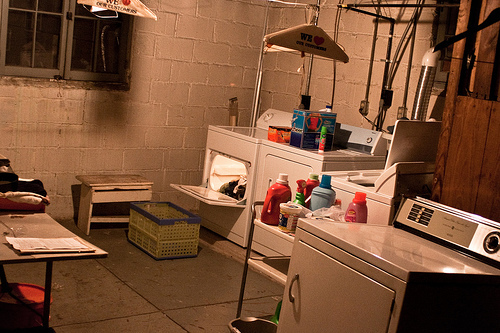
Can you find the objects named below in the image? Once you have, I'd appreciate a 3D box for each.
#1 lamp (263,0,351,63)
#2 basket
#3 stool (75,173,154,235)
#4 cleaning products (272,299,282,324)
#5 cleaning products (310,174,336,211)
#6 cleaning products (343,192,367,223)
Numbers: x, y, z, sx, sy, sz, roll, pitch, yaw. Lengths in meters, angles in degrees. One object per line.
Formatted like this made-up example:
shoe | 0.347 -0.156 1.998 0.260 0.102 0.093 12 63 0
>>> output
lamp | 0.595 -1.256 3.962 0.917 0.292 0.252 11 17 -9
basket | -1.033 0.731 4.594 0.542 0.393 0.822 6 5 -38
stool | -1.703 0.488 4.907 0.808 0.592 0.581 1 -1 -36
cleaning products | 0.210 1.079 3.051 0.037 0.241 0.072 -2 -22 23
cleaning products | 0.522 0.196 2.799 0.154 0.263 0.166 -7 18 -41
cleaning products | 0.729 0.293 2.685 0.156 0.204 0.150 6 7 12
